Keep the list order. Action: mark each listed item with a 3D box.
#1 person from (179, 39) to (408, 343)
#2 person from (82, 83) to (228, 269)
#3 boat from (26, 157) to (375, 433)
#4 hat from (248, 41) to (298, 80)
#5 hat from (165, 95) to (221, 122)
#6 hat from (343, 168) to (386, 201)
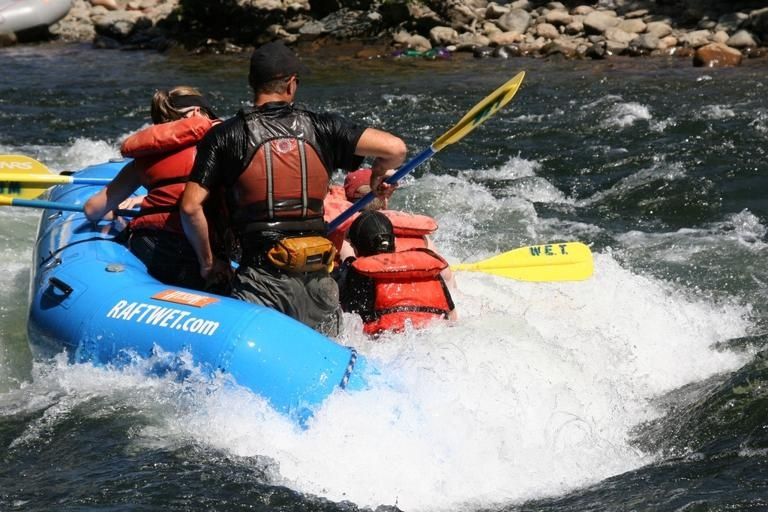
[{"bbox_3d":[-0.995,-0.592,10.518,1.702,2.605,1.097,14,32,8],"label":"person"},{"bbox_3d":[-2.306,-0.903,11.187,1.308,1.930,0.823,-9,43,-17],"label":"person"},{"bbox_3d":[-2.074,0.410,10.626,3.089,0.849,1.838,30,22,28],"label":"boat"},{"bbox_3d":[-1.020,-1.852,10.394,0.350,0.241,0.461,15,34,37],"label":"hat"},{"bbox_3d":[-2.006,-1.517,11.240,0.404,0.185,0.269,-4,-5,-12],"label":"hat"},{"bbox_3d":[-0.278,-0.792,12.129,0.271,0.199,0.399,8,35,33],"label":"hat"}]
